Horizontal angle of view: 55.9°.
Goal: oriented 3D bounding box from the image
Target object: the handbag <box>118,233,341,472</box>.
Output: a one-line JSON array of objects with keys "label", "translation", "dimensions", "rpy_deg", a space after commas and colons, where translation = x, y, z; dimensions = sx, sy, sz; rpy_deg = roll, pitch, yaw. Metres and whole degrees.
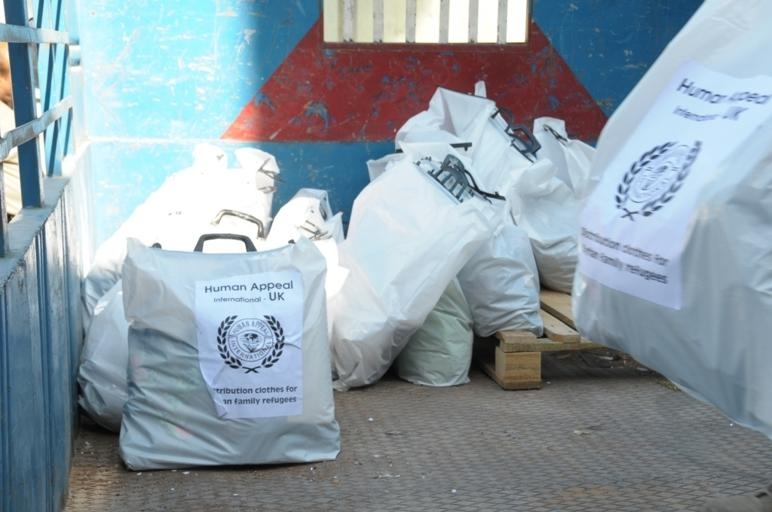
[{"label": "handbag", "translation": [-0.574, 0.375, 2.632], "dimensions": [0.779, 0.833, 0.301], "rpy_deg": [-3, -3, -1]}]

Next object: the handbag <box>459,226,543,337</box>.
[{"label": "handbag", "translation": [0.520, 0.127, 3.410], "dimensions": [0.212, 0.356, 0.401], "rpy_deg": [-8, 64, -3]}]

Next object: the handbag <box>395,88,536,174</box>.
[{"label": "handbag", "translation": [0.441, -0.581, 4.092], "dimensions": [0.619, 0.278, 0.615], "rpy_deg": [43, 26, 14]}]

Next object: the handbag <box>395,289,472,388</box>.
[{"label": "handbag", "translation": [0.214, 0.377, 3.345], "dimensions": [0.258, 0.490, 0.355], "rpy_deg": [1, 8, -29]}]

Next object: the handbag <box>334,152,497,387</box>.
[{"label": "handbag", "translation": [0.141, 0.053, 3.491], "dimensions": [0.817, 0.832, 0.802], "rpy_deg": [-1, 26, -6]}]

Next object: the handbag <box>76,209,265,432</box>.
[{"label": "handbag", "translation": [-0.813, 0.243, 3.178], "dimensions": [0.858, 0.902, 0.392], "rpy_deg": [-2, -8, 45]}]
